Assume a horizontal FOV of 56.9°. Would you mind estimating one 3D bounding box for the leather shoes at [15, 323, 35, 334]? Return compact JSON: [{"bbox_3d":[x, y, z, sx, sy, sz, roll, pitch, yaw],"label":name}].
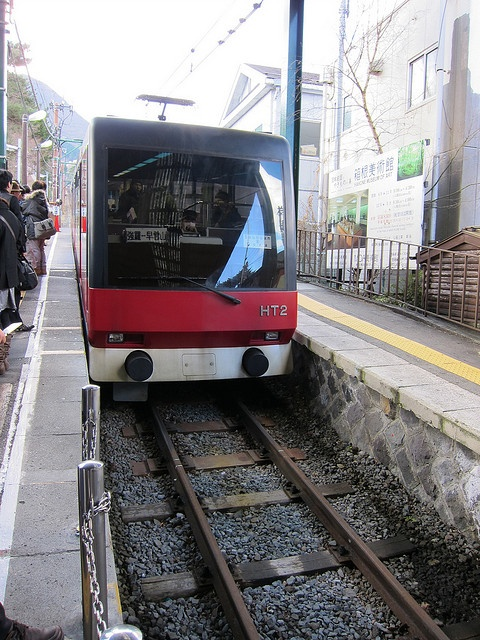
[{"bbox_3d":[-2.609,0.116,5.366,0.269,0.128,0.089,-11,16,-29],"label":"leather shoes"}]
